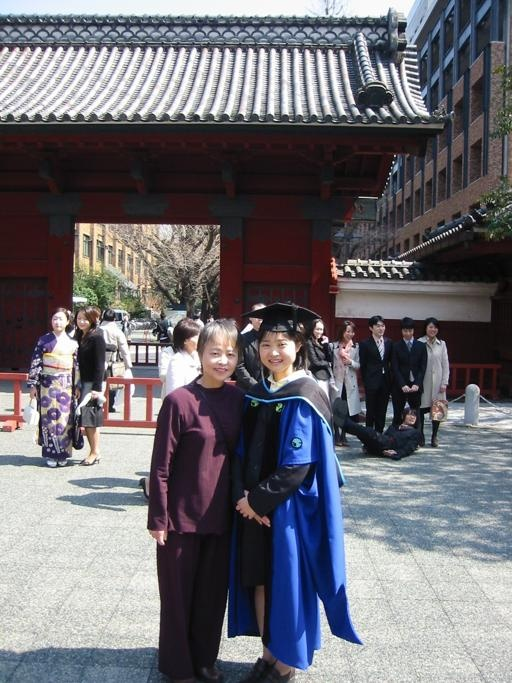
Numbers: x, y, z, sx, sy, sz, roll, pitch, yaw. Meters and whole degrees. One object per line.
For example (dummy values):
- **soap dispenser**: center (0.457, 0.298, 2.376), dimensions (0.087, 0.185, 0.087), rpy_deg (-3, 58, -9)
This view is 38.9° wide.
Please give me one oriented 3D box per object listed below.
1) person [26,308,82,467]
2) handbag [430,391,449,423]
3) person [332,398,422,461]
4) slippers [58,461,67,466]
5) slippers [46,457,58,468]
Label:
- **person**: center (-1.840, 0.421, 6.617), dimensions (0.531, 1.455, 0.473), rpy_deg (1, 4, -1)
- **handbag**: center (2.071, 0.748, 8.200), dimensions (0.171, 0.353, 0.425), rpy_deg (2, 4, 12)
- **person**: center (1.242, 0.866, 7.527), dimensions (1.022, 0.575, 0.566), rpy_deg (20, -2, -23)
- **slippers**: center (-1.786, 1.115, 6.640), dimensions (0.052, 0.023, 0.087), rpy_deg (-1, 3, -4)
- **slippers**: center (-1.872, 1.114, 6.657), dimensions (0.060, 0.111, 0.116), rpy_deg (1, -10, -7)
